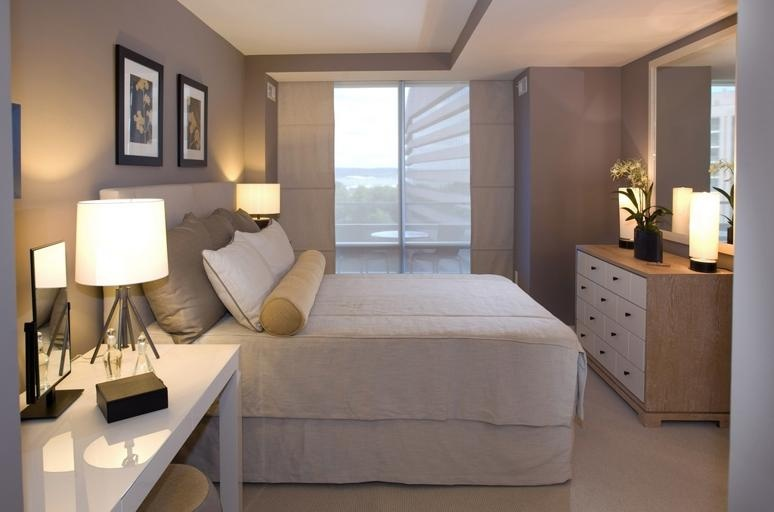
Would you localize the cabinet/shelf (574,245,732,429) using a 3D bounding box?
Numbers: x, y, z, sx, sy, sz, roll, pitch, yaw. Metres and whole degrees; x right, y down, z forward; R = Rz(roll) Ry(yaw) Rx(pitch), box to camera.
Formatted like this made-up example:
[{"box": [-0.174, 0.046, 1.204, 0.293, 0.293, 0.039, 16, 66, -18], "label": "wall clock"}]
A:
[{"box": [1.865, 0.587, 3.803, 0.443, 0.780, 1.188, 0, 5, 4], "label": "cabinet/shelf"}]

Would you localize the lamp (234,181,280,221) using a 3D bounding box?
[{"box": [-1.193, -0.505, 5.029, 0.342, 0.260, 0.318, -1, 6, -9], "label": "lamp"}]

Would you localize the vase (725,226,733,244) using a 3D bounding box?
[{"box": [2.368, -0.144, 3.823, 0.028, 0.116, 0.053, 1, 11, 13], "label": "vase"}]

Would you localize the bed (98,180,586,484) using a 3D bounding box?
[{"box": [-0.208, 0.297, 3.727, 2.412, 1.523, 1.822, -1, 5, -2], "label": "bed"}]
